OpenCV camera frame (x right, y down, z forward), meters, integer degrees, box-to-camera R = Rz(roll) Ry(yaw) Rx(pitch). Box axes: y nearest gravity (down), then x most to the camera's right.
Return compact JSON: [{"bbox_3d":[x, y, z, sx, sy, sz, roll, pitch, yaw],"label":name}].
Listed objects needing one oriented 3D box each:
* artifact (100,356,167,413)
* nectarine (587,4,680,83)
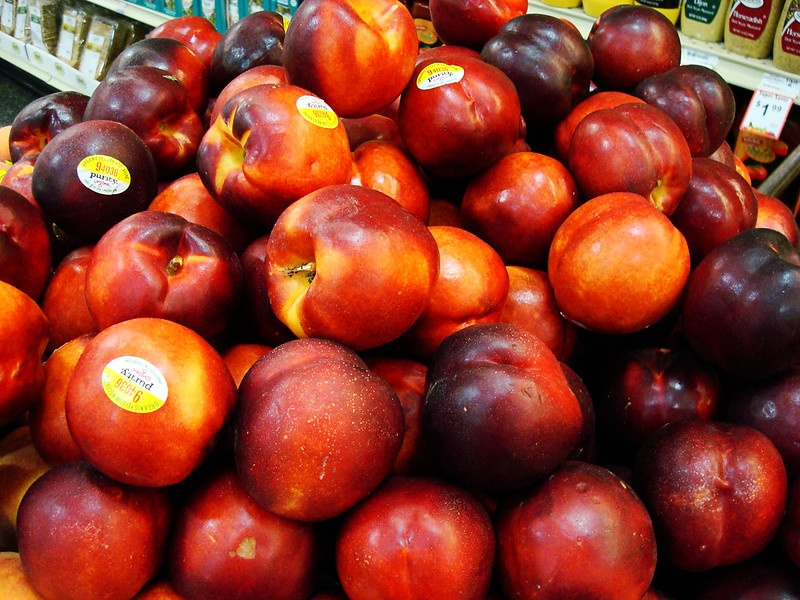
[{"bbox_3d":[-0.477,0.155,1.348,0.120,0.039,0.083,25,53,15],"label":"artifact"},{"bbox_3d":[0.653,-0.701,2.183,0.203,0.238,0.243,6,40,-4],"label":"nectarine"}]
